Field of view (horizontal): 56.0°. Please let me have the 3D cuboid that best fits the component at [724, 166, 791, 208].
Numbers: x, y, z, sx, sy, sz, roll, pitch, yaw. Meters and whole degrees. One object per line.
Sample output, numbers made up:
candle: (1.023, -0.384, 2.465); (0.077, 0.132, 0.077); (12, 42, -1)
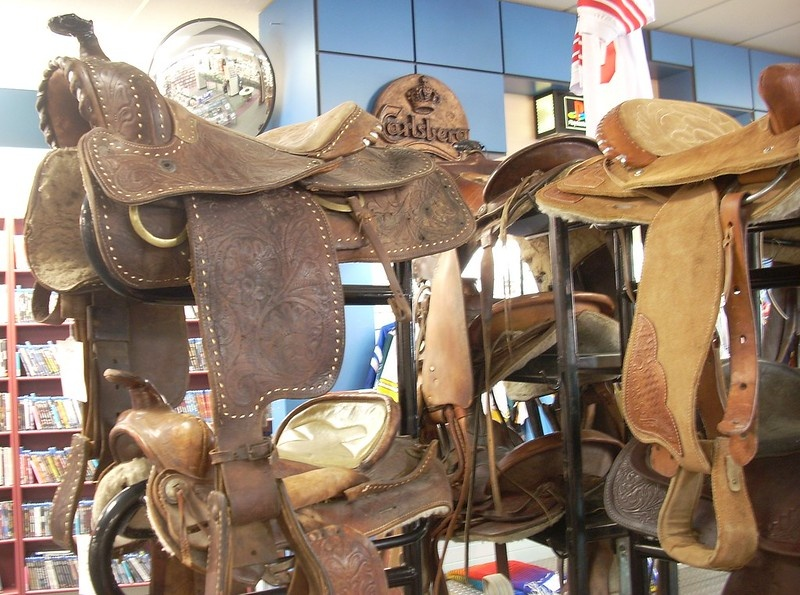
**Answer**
component: (0.622, -0.191, 1.297); (0.103, 0.063, 0.023); (-2, -4, 3)
